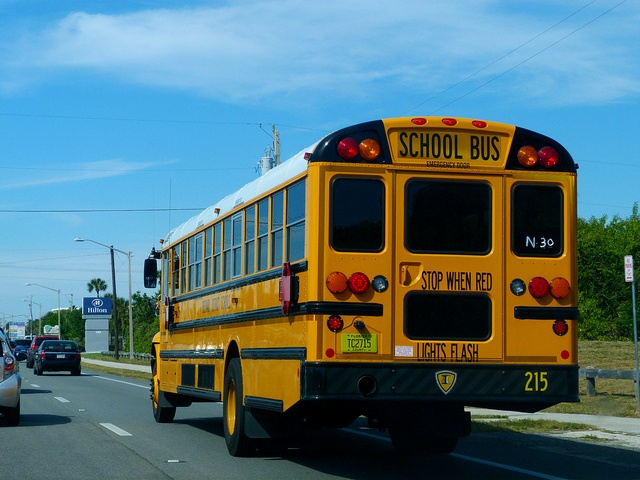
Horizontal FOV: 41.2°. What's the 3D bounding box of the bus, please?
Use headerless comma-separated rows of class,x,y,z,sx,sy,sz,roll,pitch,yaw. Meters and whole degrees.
bus,0.246,0.904,12.214,3.109,4.403,6.461,4,-8,-36

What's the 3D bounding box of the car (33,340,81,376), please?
car,-11.366,5.114,36.971,1.785,1.485,1.034,1,-6,-15
